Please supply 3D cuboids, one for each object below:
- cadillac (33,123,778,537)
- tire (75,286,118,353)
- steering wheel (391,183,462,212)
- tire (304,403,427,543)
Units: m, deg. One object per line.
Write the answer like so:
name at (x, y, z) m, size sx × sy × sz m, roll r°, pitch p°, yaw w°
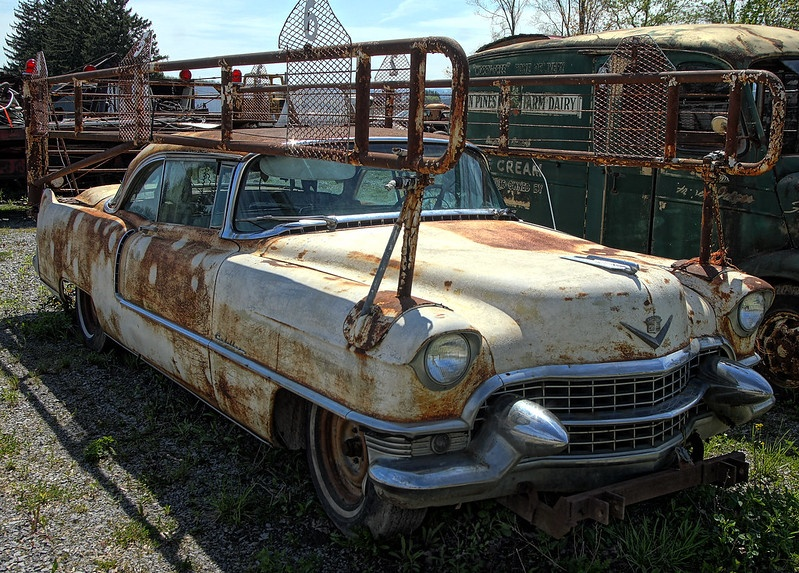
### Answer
cadillac at (-0.597, -0.035, 3.917) m, size 2.591 × 1.418 × 4.356 m, roll -14°, pitch 25°, yaw -37°
tire at (-2.866, 0.309, 5.211) m, size 0.594 × 0.616 × 0.215 m, roll -7°, pitch -4°, yaw 44°
steering wheel at (0.185, -0.714, 4.181) m, size 0.510 × 0.303 × 0.219 m, roll -12°, pitch 19°, yaw -22°
tire at (-0.220, 0.885, 3.041) m, size 0.238 × 0.791 × 0.772 m, roll -16°, pitch -1°, yaw -32°
